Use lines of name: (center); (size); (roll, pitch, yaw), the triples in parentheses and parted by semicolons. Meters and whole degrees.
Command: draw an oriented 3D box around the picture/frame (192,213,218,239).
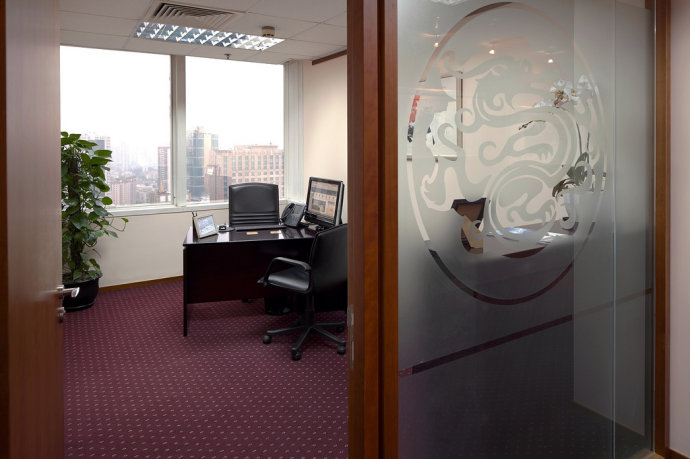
picture/frame: (-1.432, -0.026, 4.890); (0.078, 0.173, 0.210); (-10, -2, 32)

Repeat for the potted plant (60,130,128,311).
potted plant: (-2.720, -0.106, 5.146); (0.634, 1.863, 0.925); (-5, 12, -22)

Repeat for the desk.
desk: (-1.185, 0.565, 5.245); (1.201, 0.962, 1.026); (0, 5, -26)

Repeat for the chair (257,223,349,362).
chair: (-0.321, 0.500, 4.347); (0.757, 1.122, 0.855); (2, 8, 9)

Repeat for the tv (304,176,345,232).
tv: (-0.191, -0.250, 5.005); (0.171, 0.554, 0.537); (-1, 10, -41)

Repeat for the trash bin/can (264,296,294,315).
trash bin/can: (-0.693, 0.803, 5.072); (0.207, 0.172, 0.219); (0, 3, 15)

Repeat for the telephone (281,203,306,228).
telephone: (-0.567, -0.148, 5.278); (0.235, 0.306, 0.304); (2, 2, -31)

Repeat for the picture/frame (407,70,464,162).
picture/frame: (0.383, -0.495, 2.067); (0.358, 0.542, 0.036); (1, 2, -26)
